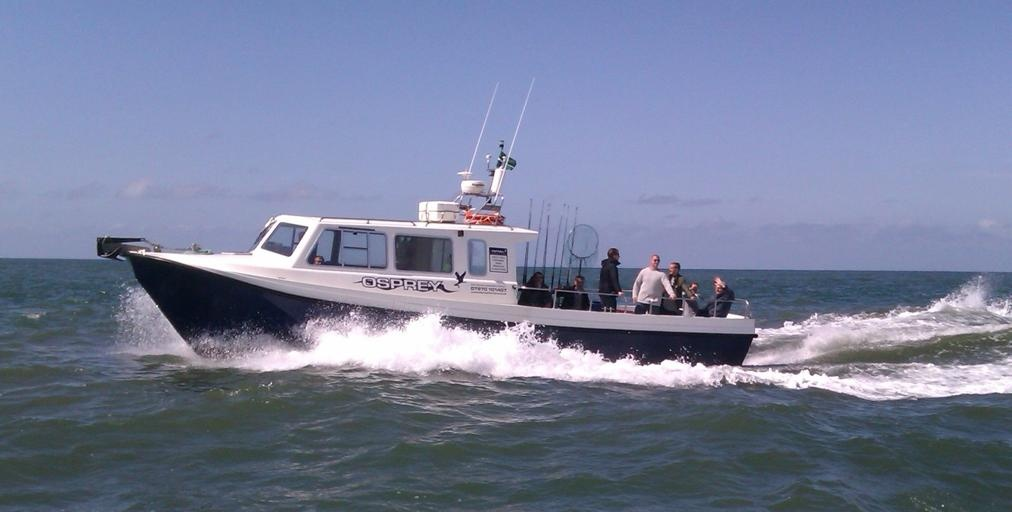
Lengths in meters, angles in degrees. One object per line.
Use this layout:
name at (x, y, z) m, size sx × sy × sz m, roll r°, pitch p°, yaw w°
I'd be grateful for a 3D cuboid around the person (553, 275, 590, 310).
person at (2.007, 1.193, 25.445) m, size 1.049 × 1.062 × 0.432 m, roll 15°, pitch -10°, yaw -21°
